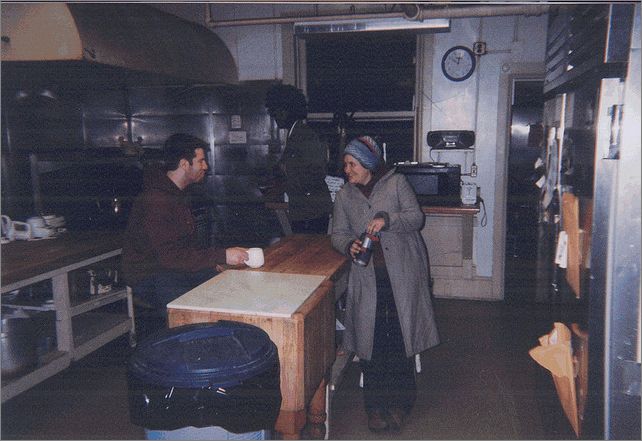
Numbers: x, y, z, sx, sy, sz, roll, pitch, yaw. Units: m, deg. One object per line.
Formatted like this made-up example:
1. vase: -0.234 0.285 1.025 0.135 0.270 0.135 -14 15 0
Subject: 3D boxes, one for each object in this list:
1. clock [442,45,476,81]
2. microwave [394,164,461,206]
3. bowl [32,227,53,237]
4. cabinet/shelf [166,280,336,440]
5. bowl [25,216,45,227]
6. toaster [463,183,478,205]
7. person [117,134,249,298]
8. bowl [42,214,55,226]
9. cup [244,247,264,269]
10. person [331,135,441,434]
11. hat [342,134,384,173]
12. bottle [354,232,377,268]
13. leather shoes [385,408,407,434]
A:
1. clock: 1.444 -1.642 6.074 0.392 0.379 0.042 2 16 19
2. microwave: 1.076 -0.373 5.770 0.734 0.481 0.416 2 15 12
3. bowl: -2.297 0.094 4.814 0.109 0.078 0.072 1 1 -32
4. cabinet/shelf: -0.326 0.628 3.743 0.869 1.078 1.209 1 10 10
5. bowl: -2.351 0.005 4.790 0.093 0.080 0.088 0 -2 0
6. toaster: 1.520 -0.272 5.994 0.176 0.182 0.477 2 9 14
7. person: -0.982 0.008 4.230 1.106 1.260 0.602 5 11 34
8. bowl: -2.265 -0.005 4.863 0.103 0.092 0.073 -1 -3 -4
9. cup: -0.432 0.237 3.818 0.128 0.123 0.157 -2 9 -7
10. person: 0.457 0.433 4.121 0.748 2.038 0.493 -1 9 -4
11. hat: 0.328 -0.465 4.129 0.345 0.261 0.142 -8 12 -42
12. bottle: 0.319 0.186 3.889 0.210 0.218 0.082 -7 11 -38
13. leather shoes: 0.529 1.394 4.108 0.115 0.165 0.040 8 -14 -1
